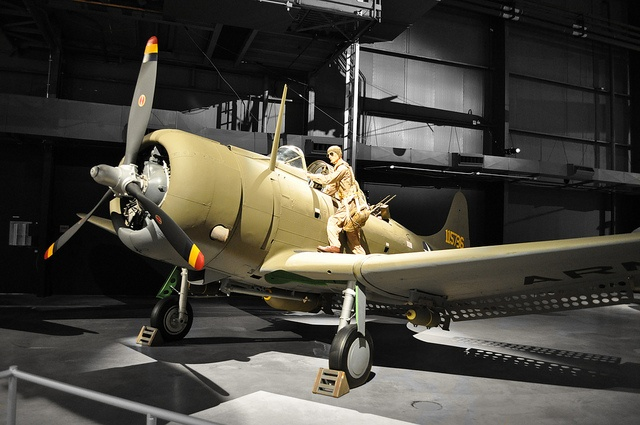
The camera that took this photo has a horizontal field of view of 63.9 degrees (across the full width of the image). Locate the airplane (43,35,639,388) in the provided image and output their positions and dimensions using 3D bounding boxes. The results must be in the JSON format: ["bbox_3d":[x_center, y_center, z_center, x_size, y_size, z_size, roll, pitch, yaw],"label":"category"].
[{"bbox_3d":[0.765,-0.267,10.097,8.408,5.360,5.536,3,8,5],"label":"airplane"}]

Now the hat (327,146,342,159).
[{"bbox_3d":[0.267,-1.097,9.537,0.200,0.244,0.266,-8,-29,22],"label":"hat"}]

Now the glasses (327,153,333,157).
[{"bbox_3d":[0.194,-1.059,9.470,0.074,0.023,0.075,-33,53,-16],"label":"glasses"}]
